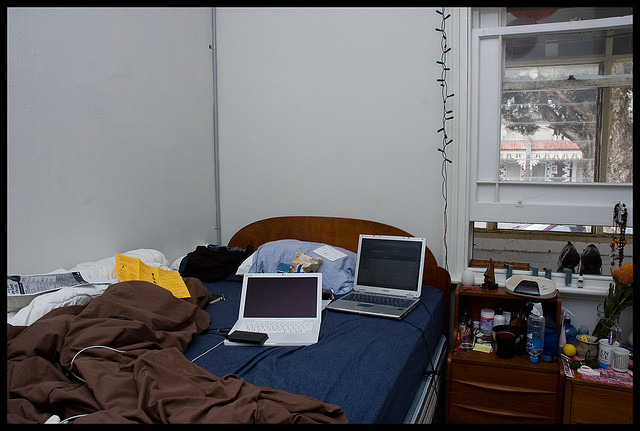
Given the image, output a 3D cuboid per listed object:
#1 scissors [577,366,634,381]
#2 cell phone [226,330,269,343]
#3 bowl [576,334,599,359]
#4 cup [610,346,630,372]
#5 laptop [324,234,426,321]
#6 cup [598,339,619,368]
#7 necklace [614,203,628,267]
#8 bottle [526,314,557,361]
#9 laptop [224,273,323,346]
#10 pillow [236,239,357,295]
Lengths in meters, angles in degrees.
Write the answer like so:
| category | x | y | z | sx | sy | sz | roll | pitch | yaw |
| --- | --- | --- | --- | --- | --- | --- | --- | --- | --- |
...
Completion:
| category | x | y | z | sx | sy | sz | roll | pitch | yaw |
| --- | --- | --- | --- | --- | --- | --- | --- | --- | --- |
| scissors | 1.638 | 0.899 | 2.624 | 0.266 | 0.026 | 0.075 | 4 | 7 | 15 |
| cell phone | -0.392 | 0.649 | 2.469 | 0.149 | 0.025 | 0.076 | 2 | 14 | 6 |
| bowl | 1.614 | 0.777 | 2.743 | 0.136 | 0.100 | 0.121 | 3 | -3 | -40 |
| cup | 1.736 | 0.826 | 2.619 | 0.086 | 0.126 | 0.138 | -1 | -4 | 35 |
| laptop | 0.425 | 0.402 | 2.998 | 0.538 | 0.389 | 0.576 | 4 | 10 | 25 |
| cup | 1.712 | 0.827 | 2.687 | 0.106 | 0.158 | 0.104 | 6 | 1 | 0 |
| necklace | 1.881 | 0.115 | 2.850 | 0.072 | 0.369 | 0.199 | 7 | 9 | 32 |
| bottle | 1.355 | 0.737 | 2.767 | 0.178 | 0.252 | 0.188 | 5 | -11 | 1 |
| laptop | -0.234 | 0.484 | 2.603 | 0.436 | 0.238 | 0.390 | 0 | 7 | 4 |
| pillow | -0.130 | 0.334 | 3.307 | 0.588 | 0.155 | 0.446 | 7 | 13 | 15 |
